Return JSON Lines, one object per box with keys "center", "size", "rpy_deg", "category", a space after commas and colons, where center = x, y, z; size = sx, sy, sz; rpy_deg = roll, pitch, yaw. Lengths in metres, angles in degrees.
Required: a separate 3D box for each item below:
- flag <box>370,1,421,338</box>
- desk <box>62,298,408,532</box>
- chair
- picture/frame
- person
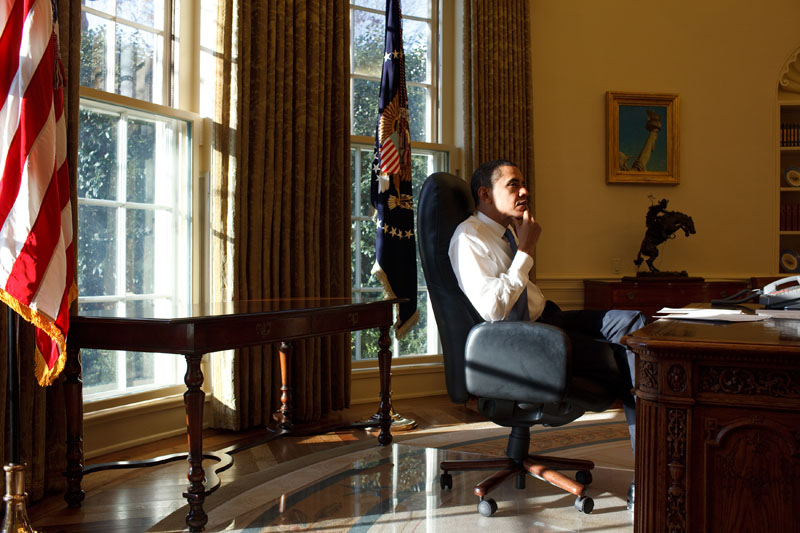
{"center": [-0.045, -0.688, 5.606], "size": [0.323, 2.344, 0.624], "rpy_deg": [-1, 11, -2], "category": "flag"}
{"center": [-0.998, 0.418, 4.356], "size": [1.012, 1.011, 1.964], "rpy_deg": [-1, 0, 28], "category": "desk"}
{"center": [0.563, 0.382, 4.175], "size": [0.647, 1.679, 1.004], "rpy_deg": [-11, 16, -42], "category": "chair"}
{"center": [2.002, -1.061, 6.613], "size": [0.725, 0.961, 0.068], "rpy_deg": [0, -2, -3], "category": "picture/frame"}
{"center": [0.788, 0.372, 4.405], "size": [1.005, 1.830, 0.783], "rpy_deg": [4, 7, 14], "category": "person"}
